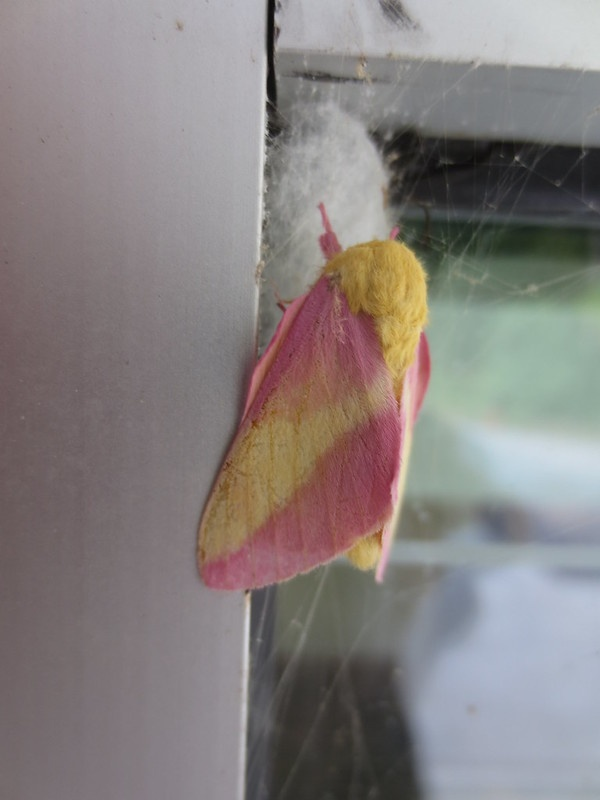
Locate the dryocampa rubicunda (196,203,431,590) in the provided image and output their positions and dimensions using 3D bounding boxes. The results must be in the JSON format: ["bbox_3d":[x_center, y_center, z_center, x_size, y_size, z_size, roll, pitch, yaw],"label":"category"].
[{"bbox_3d":[0.032,-0.003,1.877,0.319,0.169,0.535,6,96,-15],"label":"dryocampa rubicunda"}]
